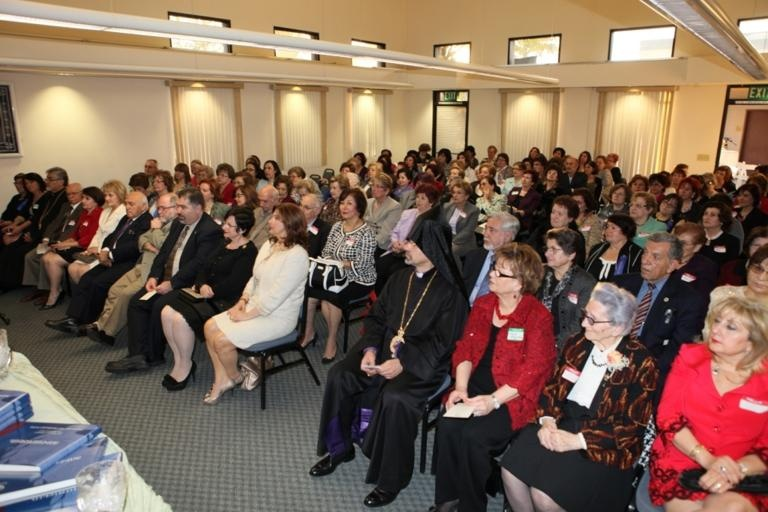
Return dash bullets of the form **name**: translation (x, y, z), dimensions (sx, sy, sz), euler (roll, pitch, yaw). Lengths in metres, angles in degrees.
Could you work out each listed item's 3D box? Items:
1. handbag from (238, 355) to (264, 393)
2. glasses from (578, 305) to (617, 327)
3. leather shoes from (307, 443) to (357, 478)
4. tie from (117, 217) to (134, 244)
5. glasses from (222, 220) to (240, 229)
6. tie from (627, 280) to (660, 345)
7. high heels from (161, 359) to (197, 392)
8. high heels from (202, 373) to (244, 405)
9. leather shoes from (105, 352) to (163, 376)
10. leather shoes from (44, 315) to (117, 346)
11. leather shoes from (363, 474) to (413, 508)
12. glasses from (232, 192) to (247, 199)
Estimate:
- **handbag**: translation (-1.296, 1.151, 4.697), dimensions (0.254, 0.433, 0.152), euler (4, 11, 25)
- **glasses**: translation (1.453, 0.425, 3.169), dimensions (0.177, 0.057, 0.170), euler (1, 9, -18)
- **leather shoes**: translation (-0.428, 1.689, 3.975), dimensions (0.449, 0.195, 0.152), euler (-22, 41, -22)
- **tie**: translation (-3.330, -0.323, 6.059), dimensions (0.123, 0.026, 0.368), euler (0, 50, 27)
- **glasses**: translation (-1.583, -0.324, 4.938), dimensions (0.107, 0.068, 0.116), euler (13, 12, 38)
- **tie**: translation (2.023, 0.461, 3.678), dimensions (0.082, 0.525, 0.062), euler (18, -16, 18)
- **high heels**: translation (-2.148, 1.244, 4.910), dimensions (0.338, 0.231, 0.215), euler (0, 3, -39)
- **high heels**: translation (-1.614, 1.326, 4.670), dimensions (0.449, 0.130, 0.190), euler (-35, 1, -23)
- **leather shoes**: translation (-2.718, 1.162, 5.177), dimensions (0.563, 0.239, 0.206), euler (1, 1, -23)
- **leather shoes**: translation (-3.592, 0.897, 5.617), dimensions (0.505, 0.216, 0.168), euler (26, -4, 0)
- **leather shoes**: translation (0.035, 1.834, 3.690), dimensions (0.402, 0.158, 0.145), euler (-6, 12, -40)
- **glasses**: translation (-1.998, -0.847, 6.518), dimensions (0.103, 0.034, 0.108), euler (-5, -11, 39)
